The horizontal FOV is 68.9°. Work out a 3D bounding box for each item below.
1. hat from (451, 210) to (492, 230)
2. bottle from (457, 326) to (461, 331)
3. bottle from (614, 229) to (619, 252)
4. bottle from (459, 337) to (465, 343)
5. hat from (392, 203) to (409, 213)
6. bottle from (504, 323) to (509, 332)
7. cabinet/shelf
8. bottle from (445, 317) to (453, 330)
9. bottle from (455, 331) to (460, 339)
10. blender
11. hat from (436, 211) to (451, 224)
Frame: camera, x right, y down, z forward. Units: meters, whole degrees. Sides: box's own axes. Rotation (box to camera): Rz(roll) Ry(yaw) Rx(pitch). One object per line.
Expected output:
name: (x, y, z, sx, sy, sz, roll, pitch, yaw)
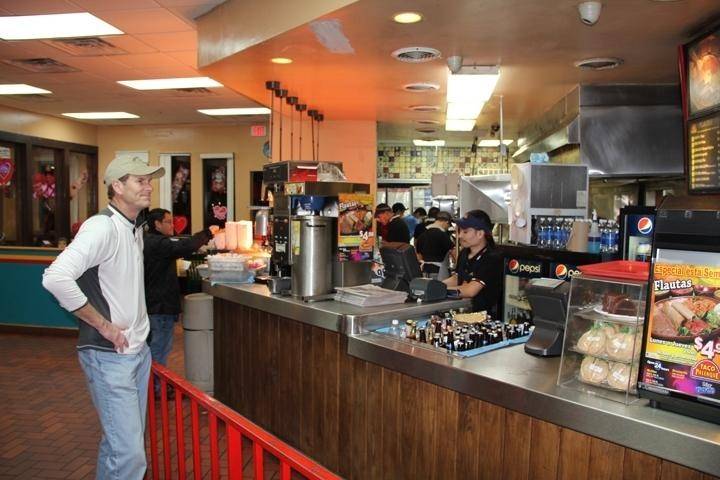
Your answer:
hat: (1.028, -0.166, 4.827, 0.293, 0.150, 0.188, 6, -1, -11)
bottle: (0.700, 0.630, 3.712, 0.030, 0.026, 0.030, -2, 5, -41)
bottle: (2.588, 0.014, 5.319, 0.038, 0.217, 0.133, 1, 6, 22)
bottle: (0.683, 0.675, 3.529, 0.037, 0.033, 0.028, -1, -5, 4)
hat: (0.740, -0.603, 9.932, 0.304, 0.175, 0.224, -14, 18, -28)
bottle: (1.048, 0.629, 3.783, 0.038, 0.034, 0.065, -2, -6, 14)
cabinet/shelf: (1.319, 0.507, 2.879, 0.410, 0.697, 0.150, 3, 6, 35)
bottle: (0.640, 0.610, 3.788, 0.055, 0.063, 0.044, -1, -6, 7)
bottle: (0.662, 0.649, 3.568, 0.039, 0.050, 0.040, 2, -6, 0)
blender: (-0.391, -0.111, 5.009, 0.733, 1.124, 0.969, -3, 5, -28)
hat: (1.261, -0.338, 8.019, 0.156, 0.195, 0.191, 3, -7, 34)
